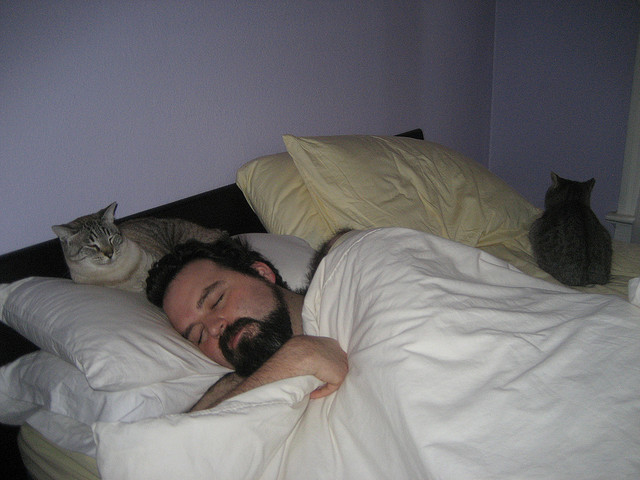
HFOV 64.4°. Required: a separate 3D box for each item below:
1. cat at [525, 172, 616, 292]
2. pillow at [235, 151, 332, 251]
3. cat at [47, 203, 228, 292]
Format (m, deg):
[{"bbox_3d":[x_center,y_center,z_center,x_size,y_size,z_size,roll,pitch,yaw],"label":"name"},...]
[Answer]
[{"bbox_3d":[0.996,0.001,2.124,0.335,0.326,0.688,4,34,13],"label":"cat"},{"bbox_3d":[-0.153,-0.117,1.955,0.351,0.351,0.101,-27,1,-40],"label":"pillow"},{"bbox_3d":[-0.608,0.026,1.607,0.257,0.201,0.349,-14,11,26],"label":"cat"}]
